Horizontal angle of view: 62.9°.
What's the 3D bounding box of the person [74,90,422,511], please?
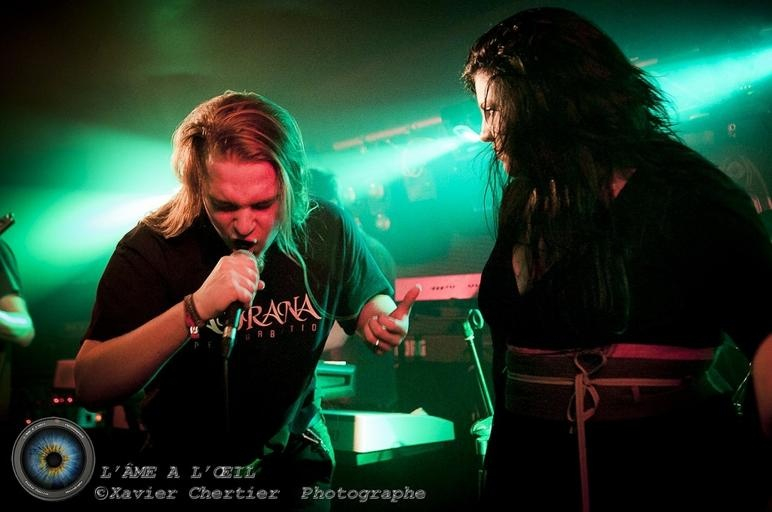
[{"bbox_3d":[-0.596,0.165,2.629,1.312,1.230,0.416,-6,-3,-1],"label":"person"}]
